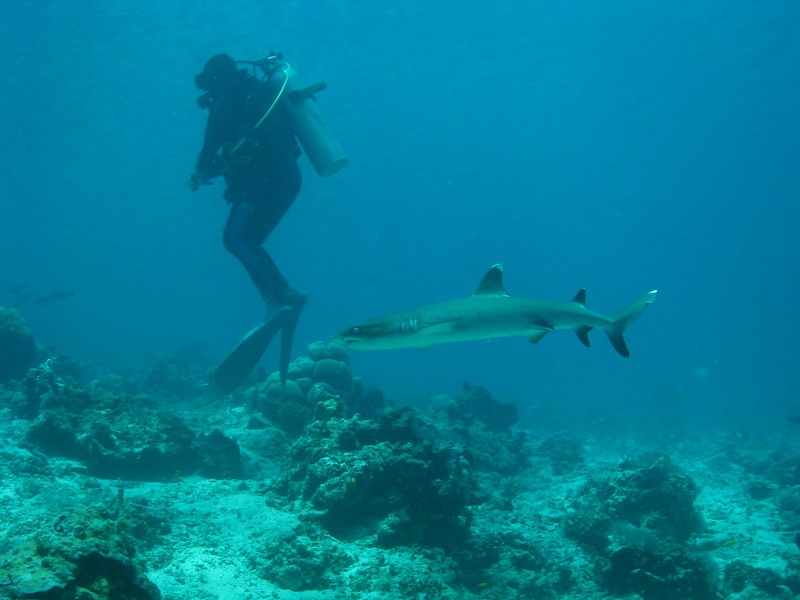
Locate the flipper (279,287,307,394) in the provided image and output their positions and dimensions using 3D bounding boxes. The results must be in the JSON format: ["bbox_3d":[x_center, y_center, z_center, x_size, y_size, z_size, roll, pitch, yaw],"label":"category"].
[{"bbox_3d":[-2.989,1.130,22.593,0.579,1.201,3.245,-3,-70,-27],"label":"flipper"}]
